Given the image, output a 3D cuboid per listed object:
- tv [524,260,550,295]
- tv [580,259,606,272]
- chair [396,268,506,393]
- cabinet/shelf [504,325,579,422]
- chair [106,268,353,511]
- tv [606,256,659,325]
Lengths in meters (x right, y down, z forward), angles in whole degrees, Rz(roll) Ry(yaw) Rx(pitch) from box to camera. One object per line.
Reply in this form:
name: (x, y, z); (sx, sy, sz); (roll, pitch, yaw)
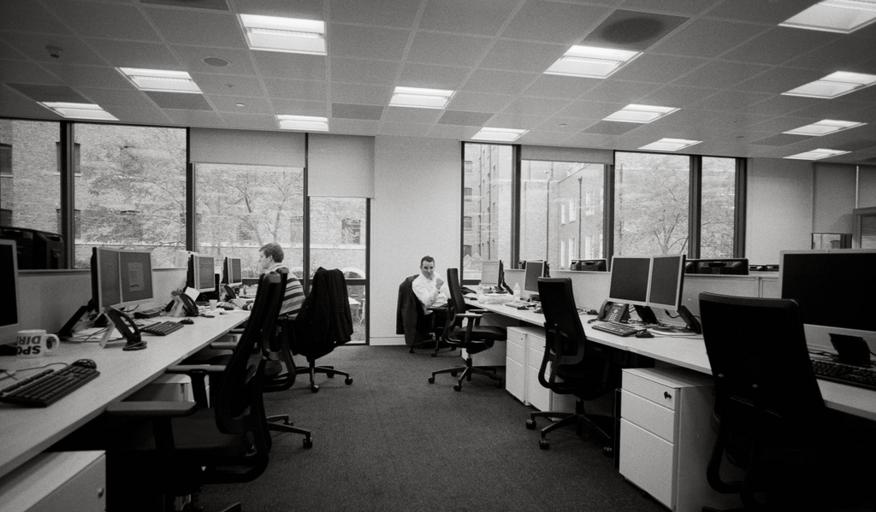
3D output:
tv: (1.220, 0.275, 7.581); (0.172, 0.439, 0.480); (4, -6, -15)
tv: (2.046, 0.128, 8.039); (0.177, 0.140, 0.228); (2, -4, -10)
chair: (0.077, 0.969, 8.422); (1.629, 1.837, 1.544); (-1, -4, 2)
cabinet/shelf: (1.242, 1.159, 7.127); (0.825, 1.117, 1.323); (7, -2, -5)
chair: (-2.260, 1.140, 5.787); (2.056, 2.151, 1.970); (0, -3, -3)
tv: (2.076, 0.368, 6.484); (0.313, 0.740, 0.767); (6, -3, -20)
